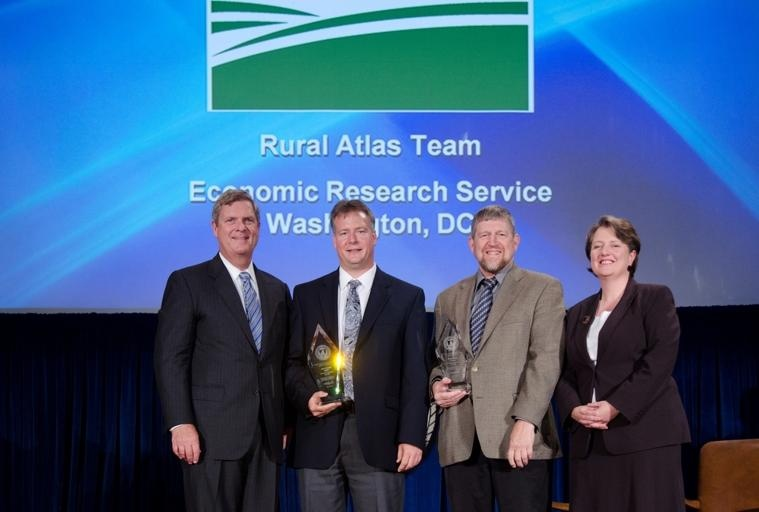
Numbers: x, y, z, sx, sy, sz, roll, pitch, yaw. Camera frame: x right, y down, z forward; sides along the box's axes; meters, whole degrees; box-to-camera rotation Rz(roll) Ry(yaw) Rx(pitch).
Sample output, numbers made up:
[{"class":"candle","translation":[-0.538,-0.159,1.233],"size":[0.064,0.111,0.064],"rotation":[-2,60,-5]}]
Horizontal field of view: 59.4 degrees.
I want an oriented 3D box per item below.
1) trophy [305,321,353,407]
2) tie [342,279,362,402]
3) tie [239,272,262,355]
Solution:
[{"class":"trophy","translation":[-0.305,0.607,3.720],"size":[0.183,0.423,0.055],"rotation":[-2,-4,-7]},{"class":"tie","translation":[-0.168,0.437,3.825],"size":[0.132,0.570,0.138],"rotation":[2,5,0]},{"class":"tie","translation":[-0.754,0.299,3.874],"size":[0.103,0.533,0.061],"rotation":[-7,-25,-14]}]
